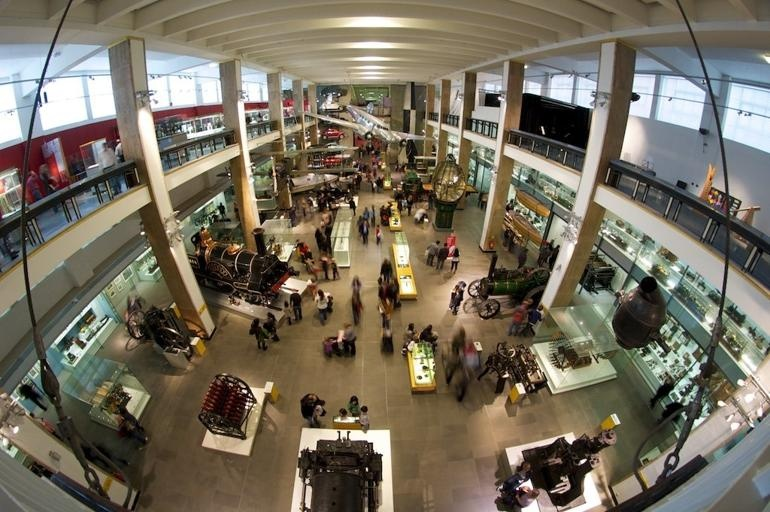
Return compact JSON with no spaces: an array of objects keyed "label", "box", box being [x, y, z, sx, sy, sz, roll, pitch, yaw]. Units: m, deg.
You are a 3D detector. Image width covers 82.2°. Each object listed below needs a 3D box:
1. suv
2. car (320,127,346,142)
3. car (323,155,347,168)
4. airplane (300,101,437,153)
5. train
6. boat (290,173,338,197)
[{"label":"suv","box":[5.516,1.303,20.038,3.770,1.823,2.076,-12,26,-21]},{"label":"car","box":[-4.909,-11.001,40.359,1.959,0.910,1.313,1,43,-3]},{"label":"car","box":[-3.959,-7.120,34.287,1.198,0.925,1.840,-1,17,-1]},{"label":"airplane","box":[-1.286,-10.714,36.058,7.230,1.688,5.308,8,26,-40]},{"label":"train","box":[-6.717,0.365,19.667,5.213,2.968,2.759,12,32,25]},{"label":"boat","box":[-5.505,-5.752,34.419,3.162,0.948,1.710,-9,35,-15]}]
